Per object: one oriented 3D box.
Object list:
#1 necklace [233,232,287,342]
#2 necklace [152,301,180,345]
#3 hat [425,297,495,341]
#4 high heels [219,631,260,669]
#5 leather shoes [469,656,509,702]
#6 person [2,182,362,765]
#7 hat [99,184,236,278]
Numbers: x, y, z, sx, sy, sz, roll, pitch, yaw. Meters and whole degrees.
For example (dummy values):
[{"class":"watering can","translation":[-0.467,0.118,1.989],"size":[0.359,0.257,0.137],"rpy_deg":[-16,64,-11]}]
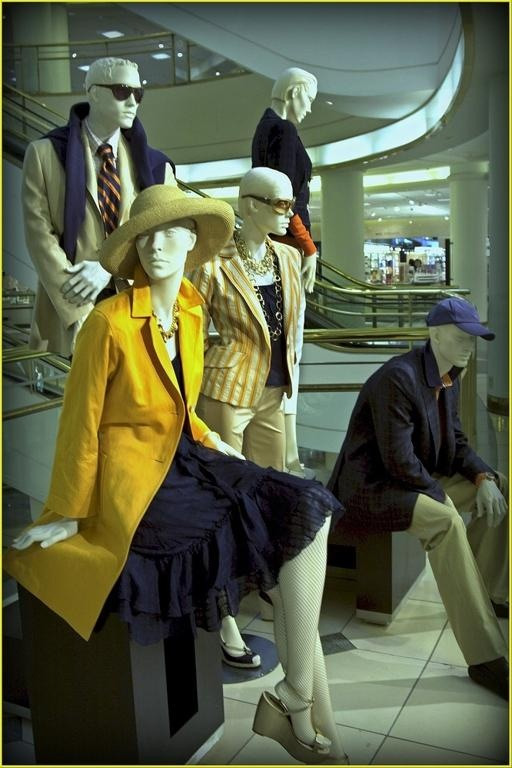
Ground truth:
[{"class":"necklace","translation":[0.047,-0.357,2.254],"size":[0.071,0.413,0.200],"rpy_deg":[-21,-7,39]},{"class":"necklace","translation":[-0.220,-0.156,1.411],"size":[0.018,0.084,0.065],"rpy_deg":[-2,0,26]},{"class":"hat","translation":[0.799,-0.260,2.242],"size":[0.234,0.126,0.156],"rpy_deg":[11,14,36]},{"class":"high heels","translation":[-0.058,0.995,2.139],"size":[0.062,0.078,0.176],"rpy_deg":[4,-10,-40]},{"class":"leather shoes","translation":[0.798,0.976,1.938],"size":[0.065,0.114,0.177],"rpy_deg":[0,0,-24]},{"class":"person","translation":[-0.175,0.067,2.138],"size":[1.247,1.971,1.027],"rpy_deg":[4,7,23]},{"class":"hat","translation":[-0.200,-0.375,1.424],"size":[0.277,0.129,0.283],"rpy_deg":[-27,-20,4]}]
